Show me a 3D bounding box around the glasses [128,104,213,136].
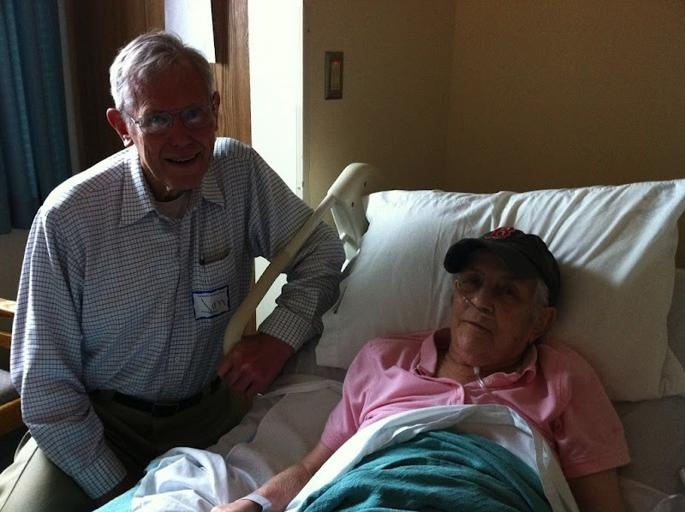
[{"bbox_3d":[-0.509,-0.407,1.648,0.220,0.077,0.055,-5,34,-15],"label":"glasses"}]

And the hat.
[{"bbox_3d":[0.499,0.012,1.744,0.278,0.416,0.209,6,63,34],"label":"hat"}]

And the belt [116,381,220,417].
[{"bbox_3d":[-0.631,0.496,1.989,0.270,0.069,0.269,1,3,-23],"label":"belt"}]
